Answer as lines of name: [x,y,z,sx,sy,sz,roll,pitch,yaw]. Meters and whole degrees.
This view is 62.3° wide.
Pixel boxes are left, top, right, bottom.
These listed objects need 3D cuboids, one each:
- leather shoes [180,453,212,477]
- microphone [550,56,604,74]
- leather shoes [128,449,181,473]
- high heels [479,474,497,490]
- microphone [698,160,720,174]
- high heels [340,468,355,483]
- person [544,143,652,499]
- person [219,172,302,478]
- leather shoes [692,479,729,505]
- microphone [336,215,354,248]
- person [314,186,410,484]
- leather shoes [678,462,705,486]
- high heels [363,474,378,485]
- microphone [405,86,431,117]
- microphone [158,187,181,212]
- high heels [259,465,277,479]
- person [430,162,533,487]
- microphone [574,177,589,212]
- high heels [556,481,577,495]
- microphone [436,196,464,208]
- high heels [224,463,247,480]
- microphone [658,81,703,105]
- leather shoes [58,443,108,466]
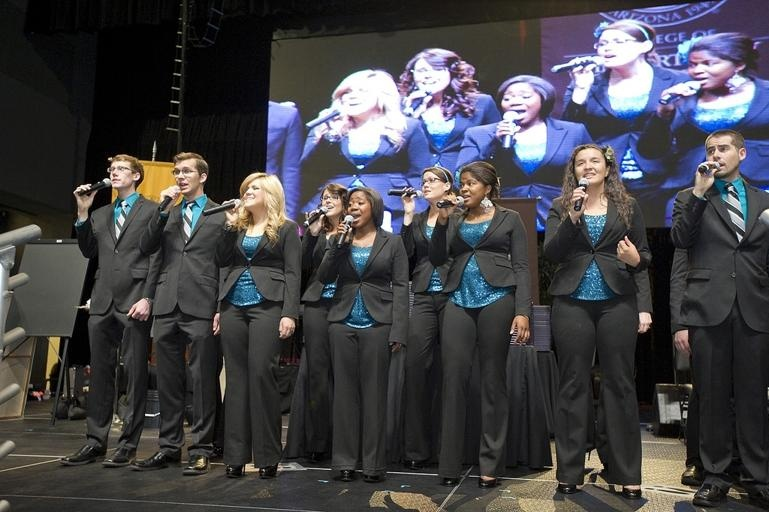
leather shoes: [-1.488,1.639,5.047,0.207,0.143,0.171,5,-11,-21]
microphone: [2.654,-2.623,8.725,0.551,0.103,0.245,-6,12,18]
leather shoes: [-1.860,1.652,5.162,0.366,0.123,0.125,13,-19,-43]
high heels: [0.759,1.672,4.748,0.167,0.066,0.059,6,-5,-39]
microphone: [2.330,-0.629,4.572,0.171,0.093,0.102,9,29,43]
high heels: [-0.294,1.675,4.881,0.056,0.063,0.150,1,-11,6]
person: [1.556,0.419,4.642,0.737,2.564,0.555,-3,-11,19]
person: [-0.993,0.452,5.005,0.593,2.297,0.282,4,-11,-15]
leather shoes: [2.293,1.662,4.481,0.336,0.134,0.120,14,-19,-34]
microphone: [-0.312,-0.206,5.040,0.095,0.302,0.090,15,-48,7]
person: [-0.177,0.586,5.111,0.632,2.290,0.411,6,-12,-27]
leather shoes: [2.379,1.681,4.931,0.178,0.184,0.484,-5,-19,20]
high heels: [-0.095,1.677,4.846,0.132,0.062,0.073,2,-10,-4]
microphone: [0.460,-2.228,9.191,0.320,0.440,0.161,30,-3,25]
microphone: [-1.771,-0.485,5.242,0.124,0.228,0.088,27,4,13]
high heels: [-0.897,1.658,4.919,0.066,0.062,0.157,-1,-5,30]
person: [0.735,0.473,4.869,0.768,2.471,0.415,0,-10,3]
microphone: [1.401,-0.452,4.551,0.083,0.081,0.304,16,40,20]
high heels: [1.332,1.667,4.622,0.167,0.082,0.111,1,-10,-1]
microphone: [0.492,-0.403,4.759,0.276,0.080,0.080,-6,-41,-45]
high heels: [-1.163,1.647,4.911,0.075,0.080,0.196,1,-28,3]
microphone: [3.866,-2.138,8.323,0.640,0.186,0.187,-22,33,-21]
leather shoes: [-2.485,1.642,5.282,0.133,0.147,0.371,-11,-16,43]
